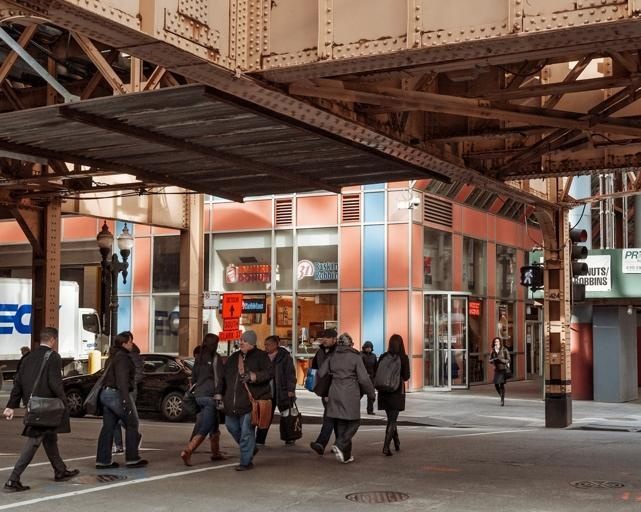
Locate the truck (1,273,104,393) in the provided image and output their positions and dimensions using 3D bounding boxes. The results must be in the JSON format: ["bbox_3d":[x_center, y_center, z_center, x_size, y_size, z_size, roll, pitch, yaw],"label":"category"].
[{"bbox_3d":[-9.227,2.260,32.475,2.114,3.134,5.938,-2,-3,13],"label":"truck"}]

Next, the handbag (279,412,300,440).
[{"bbox_3d":[-0.549,3.053,17.323,0.250,0.601,0.495,-7,-8,39],"label":"handbag"}]

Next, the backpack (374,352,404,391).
[{"bbox_3d":[1.171,1.936,16.081,0.522,0.761,0.391,-6,-23,34],"label":"backpack"}]

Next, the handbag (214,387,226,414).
[{"bbox_3d":[-1.570,2.239,14.862,0.126,0.358,0.252,0,0,-8],"label":"handbag"}]

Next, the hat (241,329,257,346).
[{"bbox_3d":[-1.136,1.286,14.928,0.221,0.213,0.221,6,24,-33],"label":"hat"}]

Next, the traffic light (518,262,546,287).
[{"bbox_3d":[4.777,0.428,21.437,0.444,0.833,0.595,1,1,-27],"label":"traffic light"}]

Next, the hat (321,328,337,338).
[{"bbox_3d":[0.172,1.295,16.301,0.143,0.102,0.197,-8,-21,45],"label":"hat"}]

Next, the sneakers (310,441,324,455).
[{"bbox_3d":[-0.053,3.207,16.053,0.126,0.133,0.324,-3,-48,33],"label":"sneakers"}]

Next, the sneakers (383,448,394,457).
[{"bbox_3d":[1.132,3.265,16.046,0.094,0.149,0.188,2,-1,35],"label":"sneakers"}]

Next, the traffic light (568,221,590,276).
[{"bbox_3d":[5.914,-0.102,21.864,0.383,1.200,1.224,-2,-8,16],"label":"traffic light"}]

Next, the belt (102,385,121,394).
[{"bbox_3d":[-3.191,2.003,14.488,0.116,0.111,0.118,-1,-5,28],"label":"belt"}]

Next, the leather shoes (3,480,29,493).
[{"bbox_3d":[-4.163,3.114,13.088,0.386,0.164,0.137,3,-1,-38],"label":"leather shoes"}]

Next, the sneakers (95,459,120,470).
[{"bbox_3d":[-3.285,3.189,14.718,0.350,0.153,0.129,1,-1,-28],"label":"sneakers"}]

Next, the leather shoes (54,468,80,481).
[{"bbox_3d":[-3.658,3.112,13.852,0.150,0.189,0.411,5,7,33],"label":"leather shoes"}]

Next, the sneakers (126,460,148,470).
[{"bbox_3d":[-2.835,3.186,14.764,0.345,0.157,0.124,-1,2,-32],"label":"sneakers"}]

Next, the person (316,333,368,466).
[{"bbox_3d":[0.408,2.252,15.502,0.919,2.063,0.632,0,-8,-1],"label":"person"}]

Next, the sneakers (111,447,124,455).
[{"bbox_3d":[-3.405,3.250,16.044,0.265,0.122,0.095,0,-9,29],"label":"sneakers"}]

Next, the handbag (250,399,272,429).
[{"bbox_3d":[-0.930,2.390,14.694,0.252,0.463,0.480,3,-4,32],"label":"handbag"}]

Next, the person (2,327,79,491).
[{"bbox_3d":[-3.949,2.100,13.472,0.954,2.260,0.889,2,-8,-14],"label":"person"}]

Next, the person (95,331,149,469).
[{"bbox_3d":[-3.113,2.190,14.670,0.621,2.055,0.660,-1,-8,7],"label":"person"}]

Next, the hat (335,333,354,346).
[{"bbox_3d":[0.392,1.375,15.804,0.236,0.308,0.295,2,-5,12],"label":"hat"}]

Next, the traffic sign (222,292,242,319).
[{"bbox_3d":[-1.978,1.098,21.465,0.424,0.585,0.535,2,-8,-11],"label":"traffic sign"}]

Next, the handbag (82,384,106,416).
[{"bbox_3d":[-3.464,2.179,14.609,0.260,0.447,0.498,2,-8,-13],"label":"handbag"}]

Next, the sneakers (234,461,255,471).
[{"bbox_3d":[-1.160,3.185,14.600,0.283,0.123,0.105,10,-10,-28],"label":"sneakers"}]

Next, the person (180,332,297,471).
[{"bbox_3d":[-1.411,2.223,15.013,1.250,2.117,0.903,-6,-10,40],"label":"person"}]
